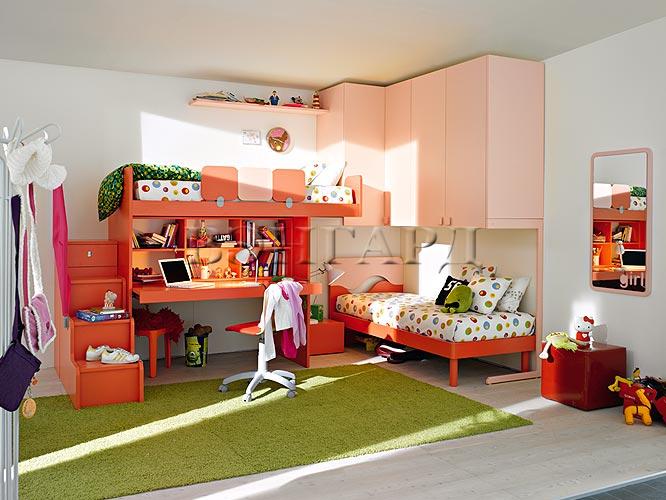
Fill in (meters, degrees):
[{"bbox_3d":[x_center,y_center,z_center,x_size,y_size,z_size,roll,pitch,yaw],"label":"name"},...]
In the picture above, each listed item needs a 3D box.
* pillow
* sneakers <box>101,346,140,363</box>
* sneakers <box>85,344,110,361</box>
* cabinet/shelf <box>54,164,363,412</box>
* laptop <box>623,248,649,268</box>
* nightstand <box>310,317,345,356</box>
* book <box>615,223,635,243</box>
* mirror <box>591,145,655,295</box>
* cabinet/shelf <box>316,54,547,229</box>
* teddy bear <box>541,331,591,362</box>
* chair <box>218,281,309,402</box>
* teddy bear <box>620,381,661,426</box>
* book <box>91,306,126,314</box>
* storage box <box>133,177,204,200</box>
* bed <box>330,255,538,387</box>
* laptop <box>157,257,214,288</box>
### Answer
[{"bbox_3d":[1.622,0.400,5.478,0.549,0.430,0.896,-2,5,-38],"label":"pillow"},{"bbox_3d":[-1.864,0.908,4.473,0.313,0.119,0.130,1,0,-18],"label":"sneakers"},{"bbox_3d":[-2.080,0.900,4.506,0.243,0.100,0.091,-3,5,-34],"label":"sneakers"},{"bbox_3d":[-1.410,0.310,5.683,3.768,2.767,2.000,-1,0,-26],"label":"cabinet/shelf"},{"bbox_3d":[2.625,0.065,4.383,0.018,0.113,0.172,-5,7,-36],"label":"laptop"},{"bbox_3d":[-0.066,1.007,6.087,0.408,0.292,0.407,-1,1,-22],"label":"nightstand"},{"bbox_3d":[2.564,-0.148,4.451,0.037,0.156,0.155,-1,4,-32],"label":"book"},{"bbox_3d":[2.553,-0.259,4.483,0.081,1.245,0.557,-1,4,-30],"label":"mirror"},{"bbox_3d":[1.014,-1.142,5.719,1.620,1.902,3.126,1,1,-19],"label":"cabinet/shelf"},{"bbox_3d":[2.008,0.805,4.442,0.253,0.094,0.330,-4,7,41],"label":"teddy bear"},{"bbox_3d":[-0.489,0.788,5.005,0.991,1.314,0.981,3,-2,-26],"label":"chair"},{"bbox_3d":[2.435,1.203,4.017,0.208,0.347,0.174,-1,-18,28],"label":"teddy bear"},{"bbox_3d":[-2.062,0.544,4.681,0.279,0.038,0.275,-1,4,-26],"label":"book"},{"bbox_3d":[-1.557,-0.585,4.877,0.591,0.192,0.098,0,4,-19],"label":"storage box"},{"bbox_3d":[0.964,0.716,5.822,1.069,1.032,2.179,-1,3,-28],"label":"bed"},{"bbox_3d":[-1.492,0.229,5.124,0.381,0.226,0.383,1,0,25],"label":"laptop"}]
